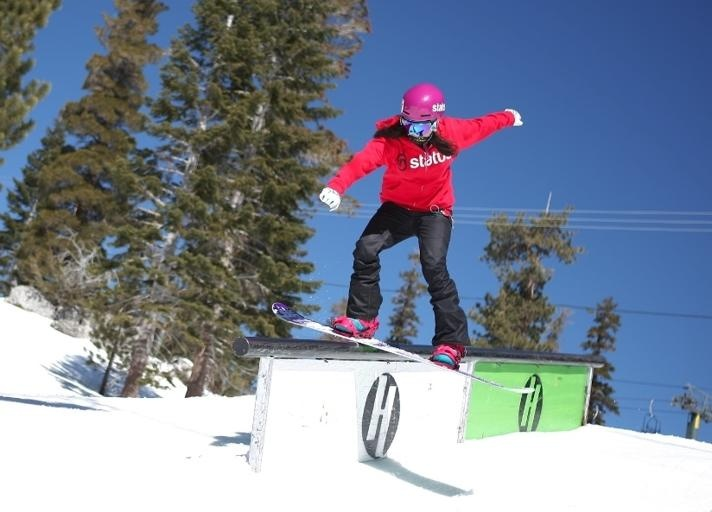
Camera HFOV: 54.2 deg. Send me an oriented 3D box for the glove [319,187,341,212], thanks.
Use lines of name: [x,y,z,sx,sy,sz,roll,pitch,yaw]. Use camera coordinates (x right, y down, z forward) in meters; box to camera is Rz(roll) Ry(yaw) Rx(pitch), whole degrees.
glove: [-0.392,-0.805,9.675,0.278,0.307,0.322,3,8,-5]
